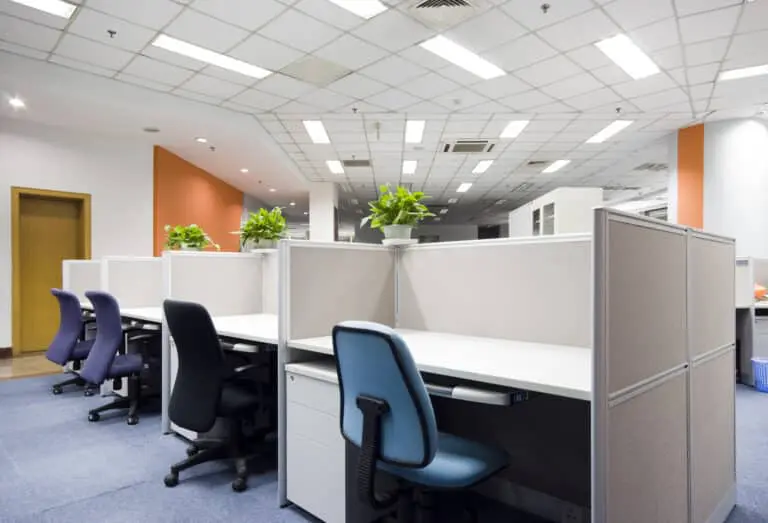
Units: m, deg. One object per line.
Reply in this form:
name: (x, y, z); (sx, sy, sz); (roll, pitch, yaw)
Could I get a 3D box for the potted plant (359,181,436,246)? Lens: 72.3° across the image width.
potted plant: (0.204, -0.360, 4.194); (0.552, 0.396, 0.665); (-2, 4, -36)

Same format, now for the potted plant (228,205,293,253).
potted plant: (-1.111, -0.282, 5.123); (0.428, 0.312, 0.490); (-1, 7, -35)

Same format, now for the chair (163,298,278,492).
chair: (-1.234, 0.999, 4.141); (0.967, 1.233, 1.040); (-7, -8, 42)

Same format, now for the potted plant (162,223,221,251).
potted plant: (-2.427, -0.320, 6.561); (0.681, 0.279, 0.657); (0, -1, 6)
